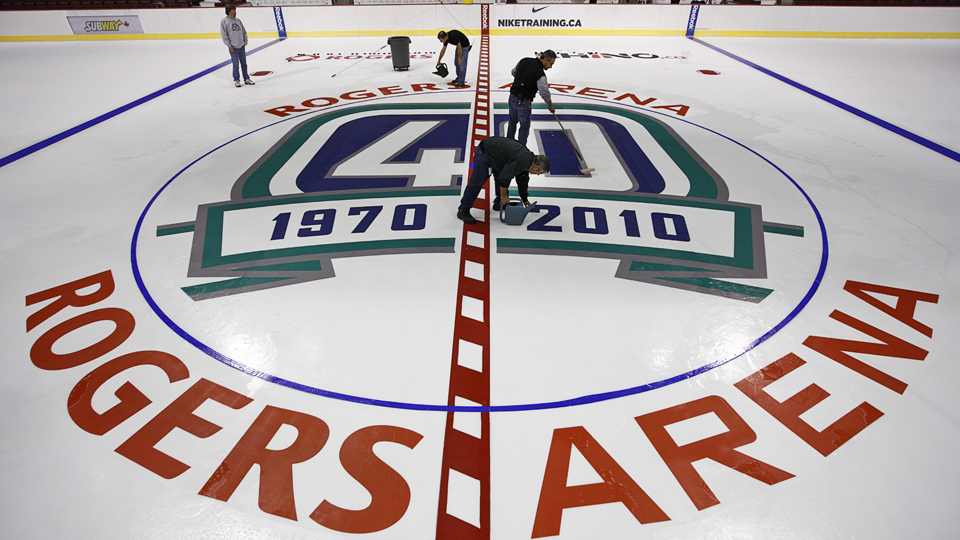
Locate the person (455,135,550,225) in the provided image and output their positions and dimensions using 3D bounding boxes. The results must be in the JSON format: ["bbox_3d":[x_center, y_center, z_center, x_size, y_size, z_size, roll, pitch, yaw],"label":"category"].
[{"bbox_3d":[0.371,-1.459,9.004,1.381,1.282,1.015,7,28,-9],"label":"person"}]

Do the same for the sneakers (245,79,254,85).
[{"bbox_3d":[-5.966,-4.839,13.989,0.251,0.165,0.095,-3,45,-10],"label":"sneakers"}]

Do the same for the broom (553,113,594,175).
[{"bbox_3d":[1.936,-2.375,10.714,0.543,0.210,1.738,-19,46,17],"label":"broom"}]

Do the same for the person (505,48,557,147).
[{"bbox_3d":[1.014,-3.258,10.440,0.909,1.804,1.220,5,39,5],"label":"person"}]

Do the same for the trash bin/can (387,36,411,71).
[{"bbox_3d":[-2.189,-5.913,14.893,0.536,0.937,0.381,-13,41,-16],"label":"trash bin/can"}]
